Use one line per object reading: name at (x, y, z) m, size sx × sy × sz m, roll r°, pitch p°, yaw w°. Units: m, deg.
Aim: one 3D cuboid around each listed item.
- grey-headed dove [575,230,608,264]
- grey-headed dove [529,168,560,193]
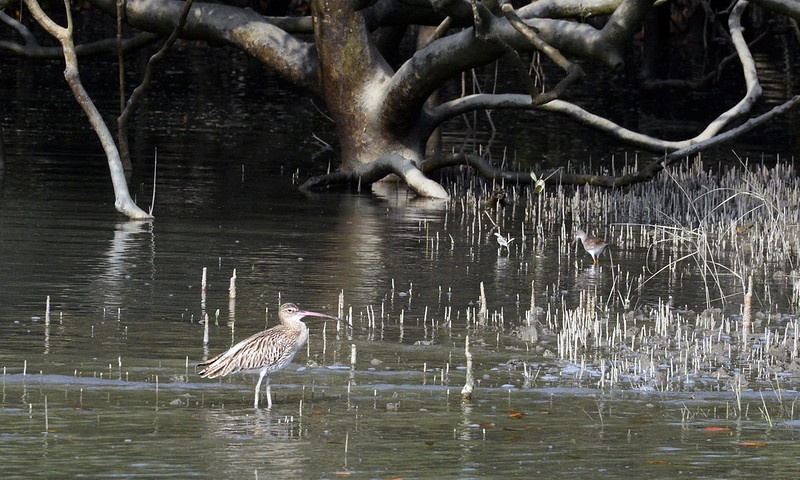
grey-headed dove at (3.027, 0.082, 20.929) m, size 0.319 × 0.503 × 0.817 m, roll 1°, pitch -5°, yaw -34°
grey-headed dove at (2.832, -1.161, 26.608) m, size 0.291 × 0.608 × 0.413 m, roll 31°, pitch 0°, yaw -43°
